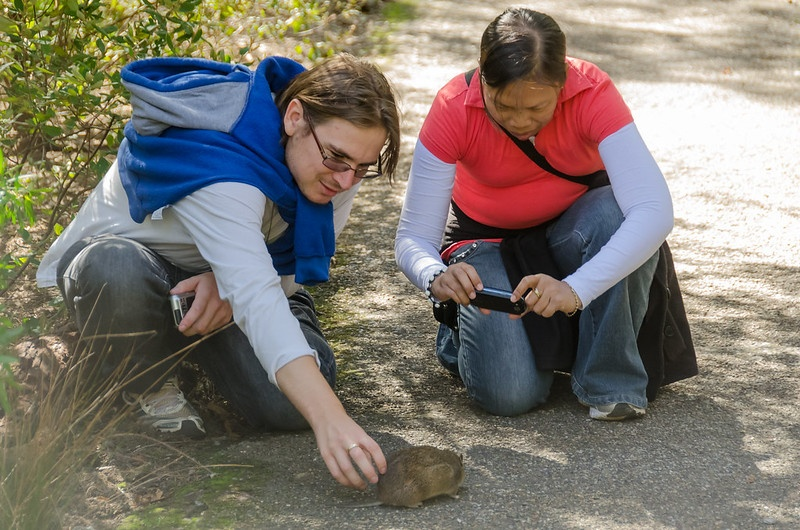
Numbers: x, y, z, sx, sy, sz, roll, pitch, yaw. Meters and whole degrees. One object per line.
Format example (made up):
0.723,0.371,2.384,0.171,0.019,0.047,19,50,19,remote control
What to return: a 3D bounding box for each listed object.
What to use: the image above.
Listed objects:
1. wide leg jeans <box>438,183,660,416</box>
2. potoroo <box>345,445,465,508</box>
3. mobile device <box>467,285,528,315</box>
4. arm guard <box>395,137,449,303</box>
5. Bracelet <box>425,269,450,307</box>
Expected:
0.817,0.242,4.374,1.272,1.361,0.687,-1,29,5,wide leg jeans
0.007,0.941,3.485,0.624,0.227,0.204,-7,12,-14,potoroo
0.461,0.159,3.783,0.245,0.115,0.044,12,51,20,mobile device
0.131,-0.231,3.995,0.287,0.725,0.215,21,11,35,arm guard
0.195,0.118,3.957,0.053,0.156,0.137,-8,28,-37,Bracelet
